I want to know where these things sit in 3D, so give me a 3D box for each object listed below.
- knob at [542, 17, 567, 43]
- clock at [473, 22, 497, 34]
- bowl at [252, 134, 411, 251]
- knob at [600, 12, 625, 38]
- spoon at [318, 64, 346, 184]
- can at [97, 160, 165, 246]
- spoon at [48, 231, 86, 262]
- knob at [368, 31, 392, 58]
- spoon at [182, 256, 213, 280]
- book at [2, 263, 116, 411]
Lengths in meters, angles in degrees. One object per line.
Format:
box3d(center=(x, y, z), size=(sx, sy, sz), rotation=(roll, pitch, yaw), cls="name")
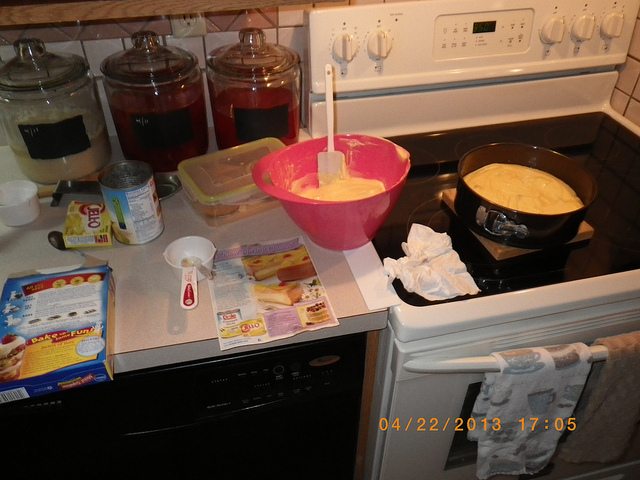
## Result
box3d(center=(0.612, -0.556, 1.317), size=(0.048, 0.069, 0.069), rotation=(10, 33, 18), cls="knob")
box3d(center=(0.428, -0.554, 1.293), size=(0.050, 0.012, 0.027), rotation=(-3, 52, -1), cls="clock")
box3d(center=(0.028, -0.104, 1.080), size=(0.334, 0.196, 0.240), rotation=(-9, 39, -7), cls="bowl")
box3d(center=(0.789, -0.585, 1.343), size=(0.044, 0.063, 0.034), rotation=(-4, 29, 2), cls="knob")
box3d(center=(0.023, -0.241, 1.087), size=(0.063, 0.258, 0.018), rotation=(11, 20, 34), cls="spoon")
box3d(center=(-0.409, -0.077, 1.085), size=(0.113, 0.132, 0.116), rotation=(26, 42, 36), cls="can")
box3d(center=(-0.540, 0.015, 1.064), size=(0.081, 0.033, 0.014), rotation=(33, 15, -7), cls="spoon")
box3d(center=(0.151, -0.498, 1.256), size=(0.050, 0.053, 0.021), rotation=(-8, 28, -14), cls="knob")
box3d(center=(-0.250, 0.057, 1.018), size=(0.065, 0.039, 0.033), rotation=(23, 45, 28), cls="spoon")
box3d(center=(-0.486, 0.160, 0.939), size=(0.193, 0.098, 0.263), rotation=(-13, 40, -12), cls="book")
